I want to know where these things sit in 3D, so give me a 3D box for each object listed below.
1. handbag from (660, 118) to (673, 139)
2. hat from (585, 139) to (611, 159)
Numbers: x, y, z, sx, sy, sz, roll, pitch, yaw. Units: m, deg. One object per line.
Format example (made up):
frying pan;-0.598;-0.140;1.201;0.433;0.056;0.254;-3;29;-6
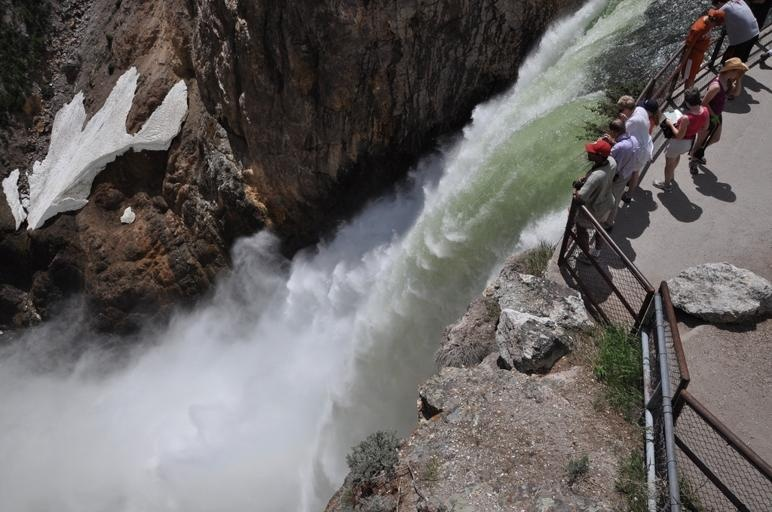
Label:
handbag;9.877;-4.474;34.367;0.207;0.626;0.405;6;3;-34
hat;7.234;-3.625;33.543;0.782;0.500;0.618;24;60;26
